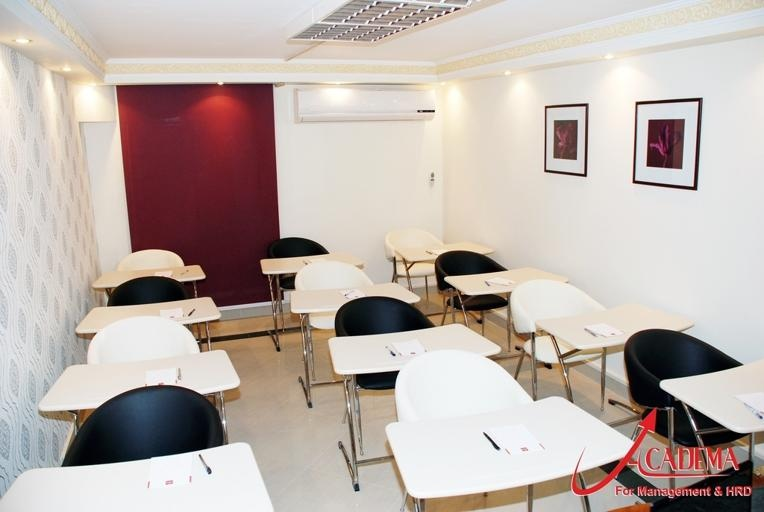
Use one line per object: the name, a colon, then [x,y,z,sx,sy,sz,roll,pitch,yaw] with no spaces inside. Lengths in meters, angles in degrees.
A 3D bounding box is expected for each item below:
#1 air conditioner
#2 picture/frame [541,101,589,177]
air conditioner: [-0.219,-2.209,7.349,2.023,0.516,0.321,-2,18,-6]
picture/frame: [2.053,-1.279,5.614,0.081,0.775,0.647,-8,15,-23]
